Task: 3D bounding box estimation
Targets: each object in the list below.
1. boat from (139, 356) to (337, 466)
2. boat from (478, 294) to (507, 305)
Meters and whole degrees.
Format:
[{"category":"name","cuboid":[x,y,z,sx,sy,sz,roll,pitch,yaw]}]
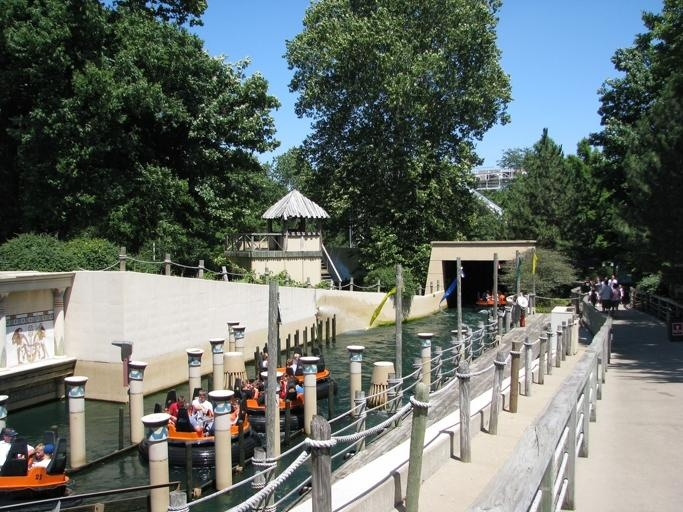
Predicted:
[{"category":"boat","cuboid":[-3.045,4.984,21.500,2.660,2.334,7.466,-5,-4,34]},{"category":"boat","cuboid":[10.010,2.786,44.167,1.414,0.713,1.874,1,1,6]}]
